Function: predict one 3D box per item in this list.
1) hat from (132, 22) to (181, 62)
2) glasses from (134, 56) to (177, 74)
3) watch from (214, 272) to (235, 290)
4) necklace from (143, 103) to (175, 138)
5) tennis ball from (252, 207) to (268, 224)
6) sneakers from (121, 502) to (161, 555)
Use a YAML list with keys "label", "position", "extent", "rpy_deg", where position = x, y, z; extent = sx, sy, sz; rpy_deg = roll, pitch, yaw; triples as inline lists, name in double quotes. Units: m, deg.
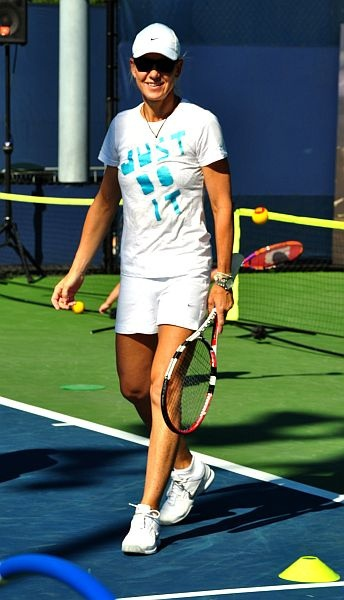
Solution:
- label: "hat"
  position: [-0.077, -1.314, 2.970]
  extent: [0.189, 0.141, 0.256]
  rpy_deg: [4, 16, 2]
- label: "glasses"
  position: [-0.094, -1.159, 2.863]
  extent: [0.205, 0.095, 0.091]
  rpy_deg: [1, 6, -5]
- label: "watch"
  position: [0.267, -0.107, 2.996]
  extent: [0.105, 0.105, 0.069]
  rpy_deg: [1, 36, 40]
- label: "necklace"
  position: [-0.101, -0.907, 2.943]
  extent: [0.187, 0.181, 0.079]
  rpy_deg: [6, 7, 40]
- label: "tennis ball"
  position: [1.207, -1.154, 7.771]
  extent: [0.109, 0.200, 0.207]
  rpy_deg: [16, -7, -35]
- label: "sneakers"
  position: [-0.149, 1.098, 2.775]
  extent: [0.129, 0.131, 0.292]
  rpy_deg: [1, 2, 6]
